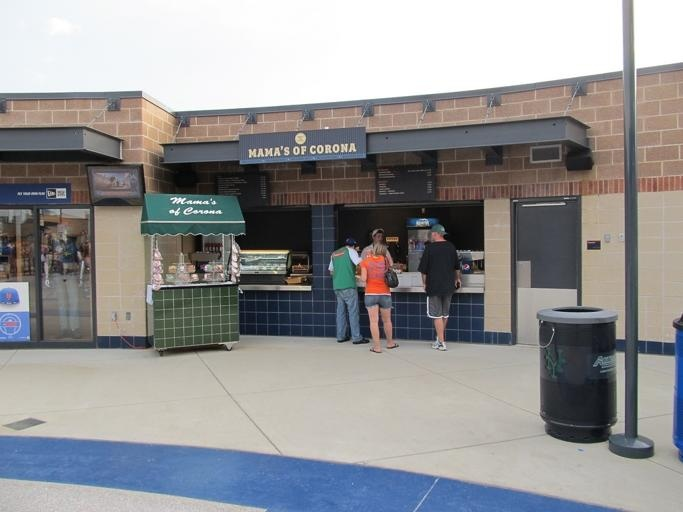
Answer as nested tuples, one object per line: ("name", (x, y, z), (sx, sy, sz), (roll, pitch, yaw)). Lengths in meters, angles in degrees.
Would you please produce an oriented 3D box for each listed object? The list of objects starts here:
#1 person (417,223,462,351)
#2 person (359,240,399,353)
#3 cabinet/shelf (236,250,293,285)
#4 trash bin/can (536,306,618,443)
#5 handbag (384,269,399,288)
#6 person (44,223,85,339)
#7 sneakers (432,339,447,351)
("person", (1.620, 0.517, 11.613), (0.565, 2.014, 0.594), (7, 13, 36))
("person", (0.643, 0.725, 11.707), (0.608, 1.831, 1.025), (0, 11, 5))
("cabinet/shelf", (-1.562, 0.222, 13.342), (1.013, 0.683, 0.552), (-1, 3, -25))
("trash bin/can", (2.591, 1.329, 7.640), (0.867, 1.381, 0.450), (3, 11, 16))
("handbag", (0.830, 0.374, 11.514), (0.203, 0.303, 0.257), (0, 11, 2))
("person", (-4.809, 0.430, 11.989), (0.640, 1.900, 0.375), (-3, 11, -11))
("sneakers", (1.626, 1.499, 11.618), (0.109, 0.134, 0.299), (-3, 9, -18))
